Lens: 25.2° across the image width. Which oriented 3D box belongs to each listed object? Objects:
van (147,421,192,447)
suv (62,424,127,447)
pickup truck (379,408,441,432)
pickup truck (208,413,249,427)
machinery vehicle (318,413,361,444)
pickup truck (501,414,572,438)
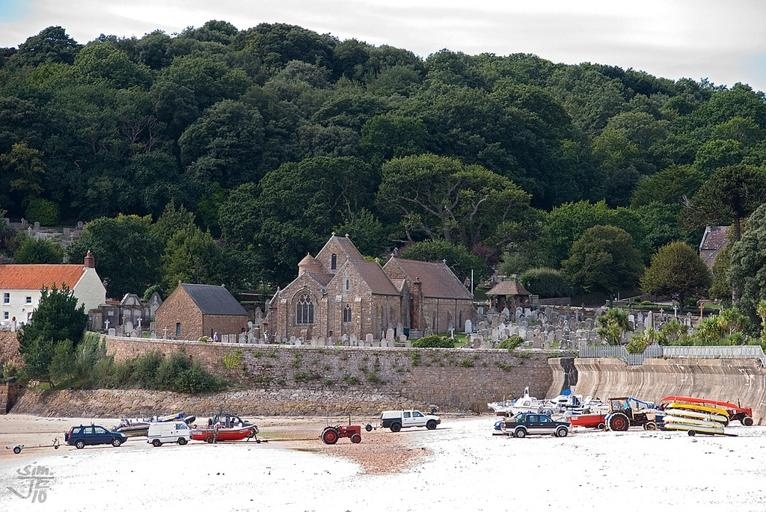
[{"bbox_3d":[-20.798,17.152,168.153,3.432,2.027,2.174,-1,-1,2],"label":"van"},{"bbox_3d":[-28.064,17.587,168.480,5.238,2.311,2.313,-2,1,-6],"label":"suv"},{"bbox_3d":[2.608,16.195,172.193,4.591,1.713,2.416,-2,0,-7],"label":"pickup truck"},{"bbox_3d":[-15.013,16.072,168.846,2.723,0.989,1.880,2,-3,-4],"label":"pickup truck"},{"bbox_3d":[-4.059,16.981,167.305,3.618,2.370,2.037,-3,4,-8],"label":"machinery vehicle"},{"bbox_3d":[14.643,16.473,166.325,5.466,2.113,2.600,-2,-1,3],"label":"pickup truck"}]
